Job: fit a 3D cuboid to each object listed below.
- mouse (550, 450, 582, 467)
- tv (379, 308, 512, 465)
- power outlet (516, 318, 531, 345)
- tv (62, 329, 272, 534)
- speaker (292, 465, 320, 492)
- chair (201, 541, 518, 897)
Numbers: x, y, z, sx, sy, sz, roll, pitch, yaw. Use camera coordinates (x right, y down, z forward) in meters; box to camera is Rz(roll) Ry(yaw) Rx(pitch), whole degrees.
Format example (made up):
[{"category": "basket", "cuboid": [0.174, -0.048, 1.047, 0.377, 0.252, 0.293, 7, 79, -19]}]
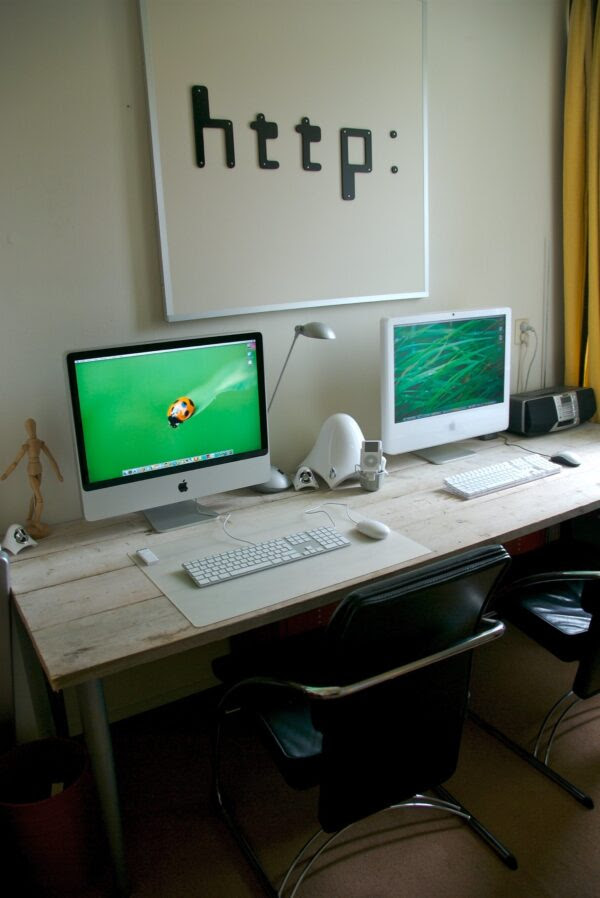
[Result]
[{"category": "mouse", "cuboid": [0.809, 0.027, 1.951, 0.037, 0.024, 0.064, -1, 20, -28]}, {"category": "tv", "cuboid": [0.440, -0.197, 1.987, 0.386, 0.379, 0.089, -16, 23, -27]}, {"category": "power outlet", "cuboid": [0.866, -0.459, 2.515, 0.063, 0.102, 0.063, -13, 22, -32]}, {"category": "tv", "cuboid": [-0.331, -0.042, 1.546, 0.390, 0.397, 0.126, -14, 24, -35]}, {"category": "speaker", "cuboid": [0.018, 0.085, 1.836, 0.049, 0.040, 0.077, -4, 41, -3]}, {"category": "chair", "cuboid": [0.105, 0.546, 1.253, 0.387, 0.674, 0.432, -12, 35, -18]}]
